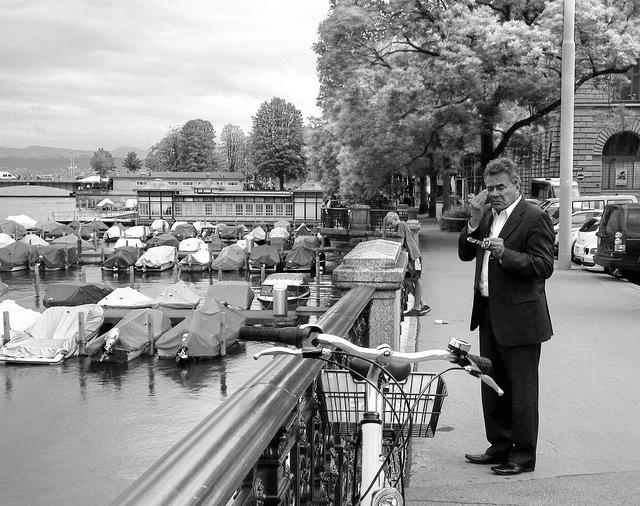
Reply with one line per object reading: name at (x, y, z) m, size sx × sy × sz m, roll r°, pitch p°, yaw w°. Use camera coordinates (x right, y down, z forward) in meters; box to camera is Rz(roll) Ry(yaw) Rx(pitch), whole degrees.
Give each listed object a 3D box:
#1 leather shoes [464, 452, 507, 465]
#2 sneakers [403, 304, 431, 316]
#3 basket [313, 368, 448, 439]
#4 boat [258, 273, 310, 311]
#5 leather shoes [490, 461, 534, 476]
leather shoes at (1.578, 1.937, 8.272) m, size 0.337 × 0.110 × 0.130 m, roll 2°, pitch 5°, yaw 19°
sneakers at (1.845, 1.081, 16.251) m, size 0.648 × 0.275 × 0.221 m, roll -1°, pitch 2°, yaw -34°
basket at (0.436, 1.204, 6.621) m, size 1.042 × 0.358 × 0.716 m, roll -8°, pitch 4°, yaw 27°
boat at (-1.304, 1.383, 31.717) m, size 1.586 × 0.957 × 2.485 m, roll -6°, pitch 5°, yaw 35°
leather shoes at (1.770, 1.946, 7.912) m, size 0.369 × 0.121 × 0.146 m, roll 3°, pitch -3°, yaw -9°
